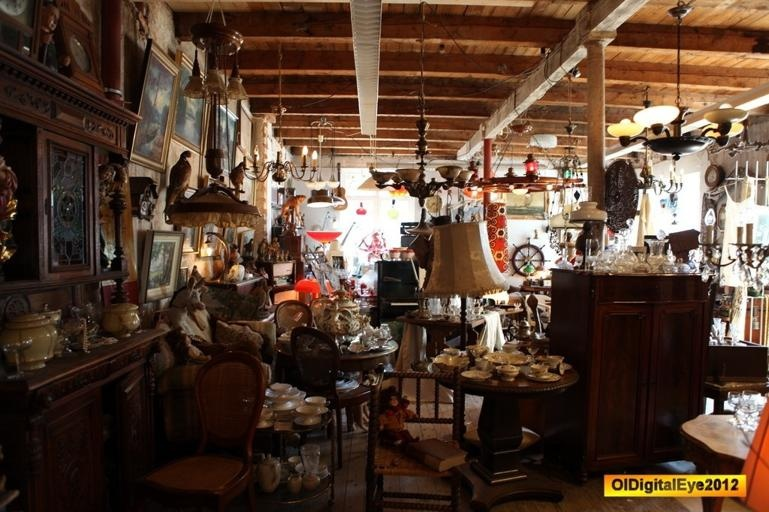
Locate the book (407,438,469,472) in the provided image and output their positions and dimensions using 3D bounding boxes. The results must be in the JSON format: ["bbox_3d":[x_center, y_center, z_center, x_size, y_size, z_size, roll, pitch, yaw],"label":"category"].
[{"bbox_3d":[0.405,1.518,4.487,0.401,0.155,0.290,1,1,42],"label":"book"}]

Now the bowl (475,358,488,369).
[{"bbox_3d":[0.830,0.926,4.994,0.090,0.065,0.067,3,-3,-27],"label":"bowl"}]

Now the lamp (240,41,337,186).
[{"bbox_3d":[-1.368,-1.776,8.926,1.668,2.103,1.607,2,-1,-20],"label":"lamp"}]

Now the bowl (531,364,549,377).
[{"bbox_3d":[1.304,0.959,4.928,0.101,0.062,0.097,0,0,0],"label":"bowl"}]

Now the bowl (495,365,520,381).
[{"bbox_3d":[1.047,0.973,4.920,0.137,0.093,0.133,-2,4,0],"label":"bowl"}]

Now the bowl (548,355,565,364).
[{"bbox_3d":[1.509,0.912,5.161,0.081,0.056,0.086,0,-2,0],"label":"bowl"}]

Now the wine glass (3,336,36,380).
[{"bbox_3d":[-2.429,0.656,3.853,0.210,0.248,0.200,1,5,-3],"label":"wine glass"}]

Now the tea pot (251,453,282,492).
[{"bbox_3d":[-0.969,1.859,5.067,0.248,0.325,0.283,1,1,12],"label":"tea pot"}]

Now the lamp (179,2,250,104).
[{"bbox_3d":[-1.623,-2.001,5.670,0.518,0.930,2.107,1,1,-16],"label":"lamp"}]

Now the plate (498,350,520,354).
[{"bbox_3d":[1.178,0.913,5.518,0.116,0.027,0.125,1,0,29],"label":"plate"}]

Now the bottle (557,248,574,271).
[{"bbox_3d":[2.392,0.039,7.717,0.289,0.312,0.288,0,2,13],"label":"bottle"}]
